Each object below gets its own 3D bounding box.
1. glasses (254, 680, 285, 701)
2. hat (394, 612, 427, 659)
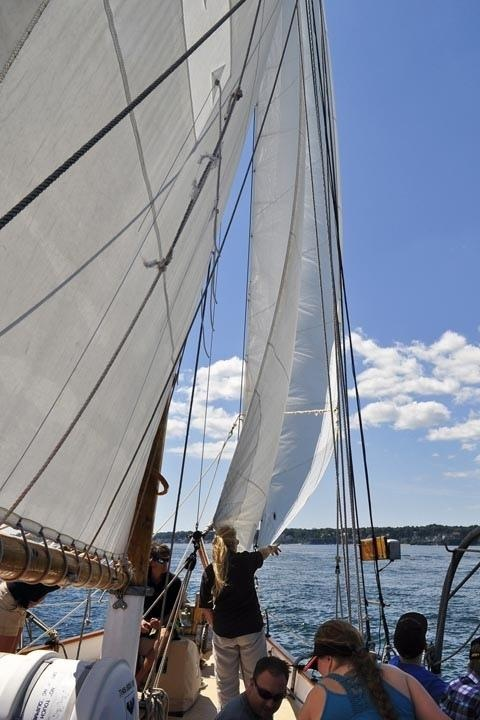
[{"bbox_3d":[0.134,1.497,2.653,0.079,0.036,0.092,18,3,-2],"label":"glasses"},{"bbox_3d":[0.940,1.424,3.170,0.153,0.305,0.102,-12,-39,35],"label":"hat"}]
